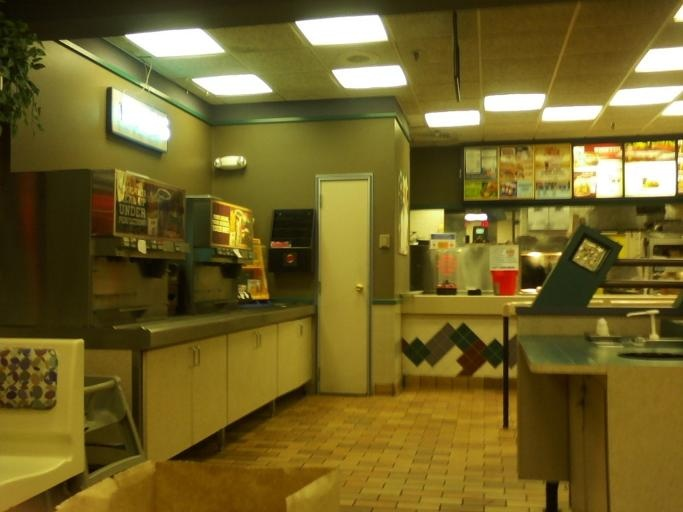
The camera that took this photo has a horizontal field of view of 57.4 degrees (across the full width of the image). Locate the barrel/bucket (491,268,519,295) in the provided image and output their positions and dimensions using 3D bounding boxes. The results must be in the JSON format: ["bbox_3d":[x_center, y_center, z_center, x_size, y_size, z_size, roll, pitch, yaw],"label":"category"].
[{"bbox_3d":[2.112,0.335,7.942,0.313,0.354,0.322,1,-8,0],"label":"barrel/bucket"}]

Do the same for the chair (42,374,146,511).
[{"bbox_3d":[-1.536,1.058,3.670,0.468,0.655,0.555,-14,-12,-35],"label":"chair"}]
